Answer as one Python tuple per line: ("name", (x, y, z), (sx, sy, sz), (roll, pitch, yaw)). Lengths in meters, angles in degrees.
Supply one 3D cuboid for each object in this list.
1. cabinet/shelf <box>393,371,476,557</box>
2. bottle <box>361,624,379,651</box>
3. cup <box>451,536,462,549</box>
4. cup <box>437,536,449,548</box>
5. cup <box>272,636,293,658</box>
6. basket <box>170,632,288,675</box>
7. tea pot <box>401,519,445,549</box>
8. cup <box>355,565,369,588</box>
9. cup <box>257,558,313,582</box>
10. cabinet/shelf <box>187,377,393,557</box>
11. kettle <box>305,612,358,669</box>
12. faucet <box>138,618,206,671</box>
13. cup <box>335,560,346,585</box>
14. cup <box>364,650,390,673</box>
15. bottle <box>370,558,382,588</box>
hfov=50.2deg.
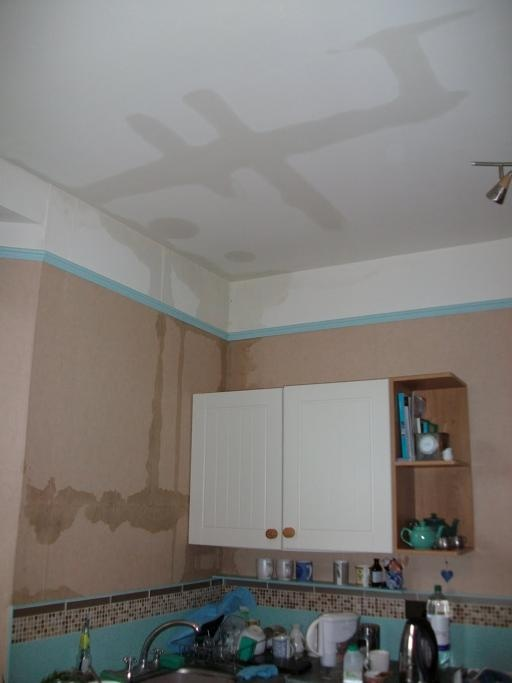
("cabinet/shelf", (0.801, 0.550, 2.476), (0.347, 0.764, 0.416), (-6, -14, 21))
("bottle", (0.520, 1.351, 2.506), (0.077, 0.116, 0.165), (-5, -14, 19))
("cup", (0.856, 0.863, 2.340), (0.034, 0.048, 0.066), (-9, -16, 33))
("cup", (0.782, 0.845, 2.306), (0.041, 0.041, 0.041), (3, -10, 0))
("cup", (0.119, 1.392, 2.496), (0.065, 0.076, 0.102), (7, -16, -18))
("basket", (-0.121, 1.395, 2.436), (0.387, 0.094, 0.276), (-2, -14, 29))
("tea pot", (0.718, 0.835, 2.371), (0.169, 0.114, 0.157), (-1, -13, 0))
("cup", (0.511, 1.139, 2.652), (0.073, 0.102, 0.065), (-7, -14, 25))
("cup", (0.155, 1.204, 2.883), (0.307, 0.111, 0.114), (-6, -14, 22))
("cabinet/shelf", (0.181, 0.634, 2.672), (0.873, 0.650, 0.338), (-7, -19, 27))
("kettle", (0.346, 1.317, 2.422), (0.230, 0.225, 0.130), (0, -1, -21))
("faucet", (-0.371, 1.285, 2.299), (0.263, 0.314, 0.073), (3, 24, -10))
("cup", (0.420, 1.151, 2.713), (0.061, 0.112, 0.042), (0, -13, -4))
("cup", (0.501, 1.305, 2.228), (0.102, 0.093, 0.064), (3, -11, -14))
("bottle", (0.589, 1.123, 2.653), (0.086, 0.123, 0.073), (3, -14, -16))
